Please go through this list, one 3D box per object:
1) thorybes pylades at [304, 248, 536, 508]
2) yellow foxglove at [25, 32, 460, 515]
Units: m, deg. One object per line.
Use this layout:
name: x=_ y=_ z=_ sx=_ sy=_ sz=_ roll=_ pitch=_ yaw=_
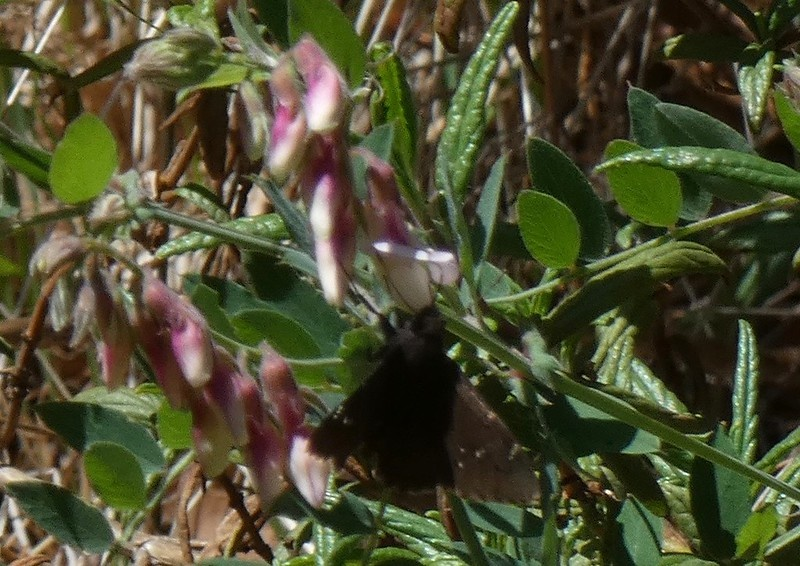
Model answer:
thorybes pylades: x=0.036 y=0.117 z=1.661 sx=0.125 sy=0.250 sz=0.242 roll=-17 pitch=16 yaw=-29
yellow foxglove: x=-0.126 y=0.039 z=1.620 sx=0.398 sy=0.490 sz=0.169 roll=-18 pitch=-12 yaw=35
